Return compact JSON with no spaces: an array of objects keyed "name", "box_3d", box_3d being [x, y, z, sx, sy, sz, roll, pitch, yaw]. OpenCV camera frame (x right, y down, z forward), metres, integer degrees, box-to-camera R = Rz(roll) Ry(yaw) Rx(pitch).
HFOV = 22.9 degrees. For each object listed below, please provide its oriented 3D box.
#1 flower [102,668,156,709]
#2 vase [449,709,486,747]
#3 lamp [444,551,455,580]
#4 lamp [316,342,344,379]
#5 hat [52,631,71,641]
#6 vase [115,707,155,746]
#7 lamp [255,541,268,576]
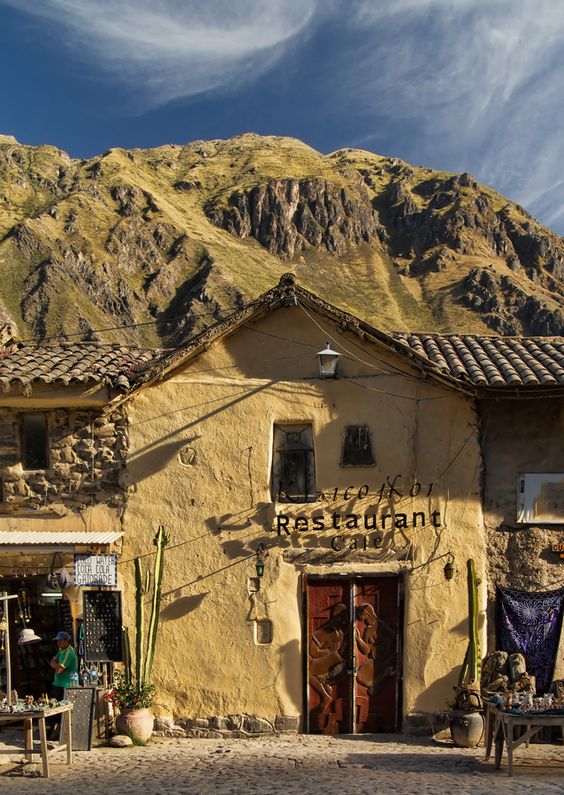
[{"name":"flower","box_3d":[-2.322,4.529,20.905,0.724,0.444,0.313,0,2,0]},{"name":"vase","box_3d":[2.697,4.840,20.212,0.543,0.569,0.523,1,-16,-2]},{"name":"lamp","box_3d":[2.579,2.633,21.483,0.167,0.426,0.231,1,3,21]},{"name":"lamp","box_3d":[0.611,-0.611,21.791,0.513,0.583,0.479,0,-7,-1]},{"name":"hat","box_3d":[-3.327,3.596,20.778,0.234,0.108,0.155,1,-2,8]},{"name":"vase","box_3d":[-2.175,4.972,20.886,0.564,0.564,0.535,-3,-24,-1]},{"name":"lamp","box_3d":[-0.332,2.562,21.643,0.186,0.524,0.204,-1,3,-4]}]
